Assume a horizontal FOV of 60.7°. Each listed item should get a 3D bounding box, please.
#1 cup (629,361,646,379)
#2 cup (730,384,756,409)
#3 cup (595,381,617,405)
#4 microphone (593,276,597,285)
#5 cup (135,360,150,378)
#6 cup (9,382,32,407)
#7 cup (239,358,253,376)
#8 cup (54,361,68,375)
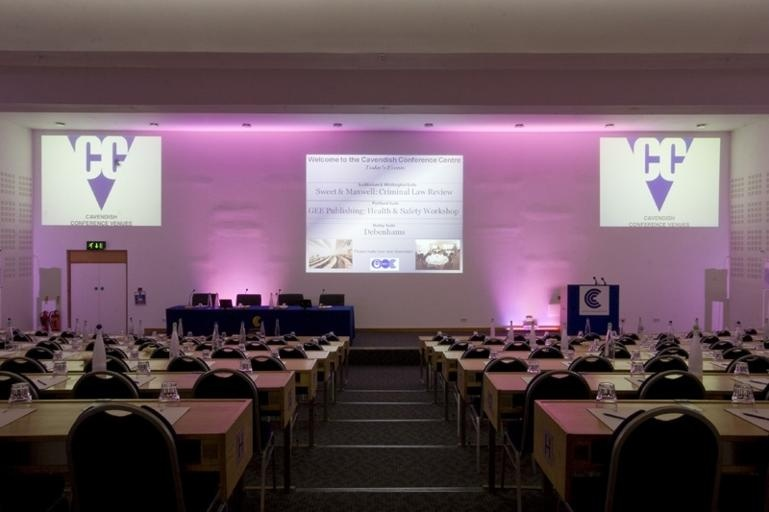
[{"bbox_3d":[3.221,1.459,8.414,0.206,0.239,0.256,-1,-2,12],"label":"cup"},{"bbox_3d":[4.088,1.615,7.551,0.239,0.223,0.235,1,-4,0],"label":"cup"},{"bbox_3d":[2.471,1.556,7.415,0.236,0.220,0.232,1,-5,0],"label":"cup"},{"bbox_3d":[5.621,0.643,17.498,0.123,0.163,0.196,0,10,5],"label":"microphone"},{"bbox_3d":[-3.071,1.431,8.400,0.211,0.090,0.294,3,3,-8],"label":"cup"},{"bbox_3d":[-4.091,1.574,7.408,0.241,0.220,0.236,1,-2,0],"label":"cup"},{"bbox_3d":[-1.777,1.433,8.458,0.197,0.215,0.189,1,-3,0],"label":"cup"},{"bbox_3d":[-4.224,1.476,8.595,0.179,0.114,0.177,-1,-1,0],"label":"cup"}]
